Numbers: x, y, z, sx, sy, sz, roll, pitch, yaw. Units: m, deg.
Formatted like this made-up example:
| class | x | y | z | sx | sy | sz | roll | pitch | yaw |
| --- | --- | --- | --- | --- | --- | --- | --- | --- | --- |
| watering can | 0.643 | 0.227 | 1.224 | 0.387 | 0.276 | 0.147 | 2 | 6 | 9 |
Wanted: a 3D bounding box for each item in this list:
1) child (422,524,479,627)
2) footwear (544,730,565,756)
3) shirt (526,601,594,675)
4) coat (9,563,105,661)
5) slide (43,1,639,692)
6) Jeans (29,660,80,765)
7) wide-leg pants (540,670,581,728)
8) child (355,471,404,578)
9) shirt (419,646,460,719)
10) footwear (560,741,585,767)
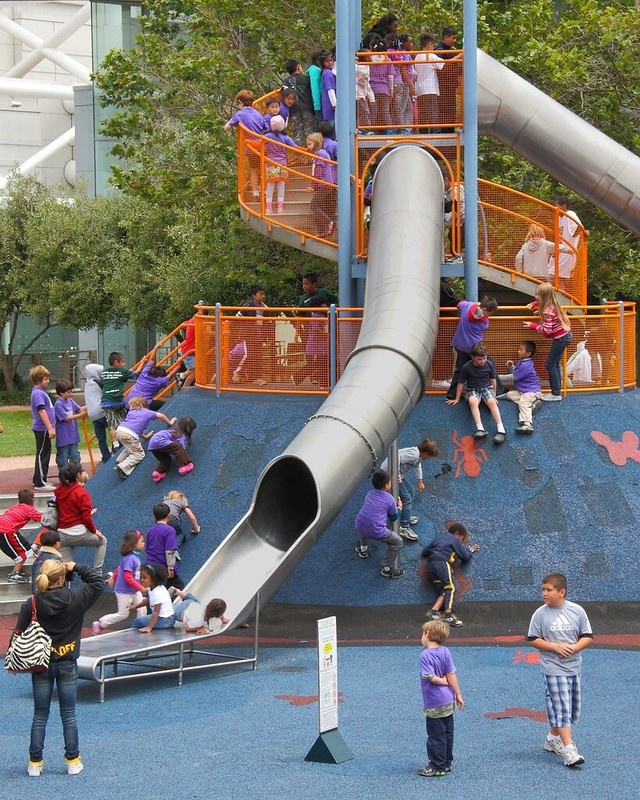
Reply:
| class | x | y | z | sx | sy | sz | roll | pitch | yaw |
| --- | --- | --- | --- | --- | --- | --- | --- | --- | --- |
| child | 1.373 | 1.845 | 11.698 | 0.528 | 1.088 | 0.995 | -1 | 2 | 7 |
| footwear | 1.642 | 2.448 | 7.681 | 0.074 | 0.133 | 0.203 | -3 | 3 | -40 |
| shirt | 1.602 | 1.610 | 7.321 | 0.409 | 0.490 | 0.236 | -1 | 2 | 9 |
| coat | -1.648 | 1.480 | 7.403 | 0.349 | 0.548 | 0.597 | -1 | 2 | 14 |
| slide | -0.330 | -1.035 | 14.009 | 6.621 | 5.028 | 9.916 | 10 | 35 | 13 |
| Jeans | -1.816 | 2.137 | 7.399 | 0.331 | 0.804 | 0.457 | -2 | 2 | -15 |
| wide-leg pants | 1.630 | 2.042 | 7.352 | 0.187 | 0.410 | 0.256 | 0 | 3 | 36 |
| child | 0.646 | 1.370 | 11.961 | 0.513 | 1.283 | 1.096 | -2 | 2 | 2 |
| shirt | 0.760 | 1.840 | 7.035 | 0.216 | 0.494 | 0.213 | -1 | 2 | 6 |
| footwear | 1.729 | 2.431 | 7.419 | 0.111 | 0.112 | 0.247 | -1 | -5 | -14 |
